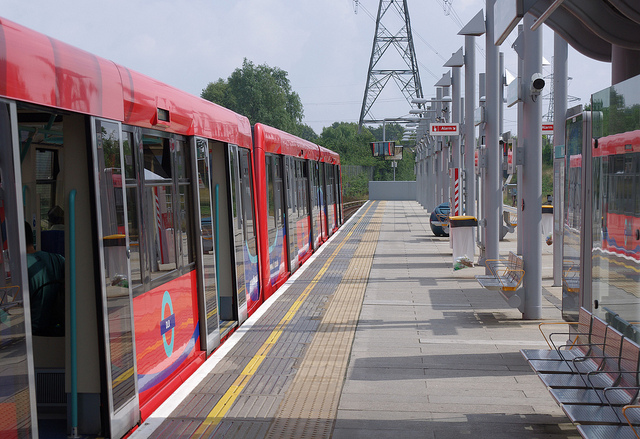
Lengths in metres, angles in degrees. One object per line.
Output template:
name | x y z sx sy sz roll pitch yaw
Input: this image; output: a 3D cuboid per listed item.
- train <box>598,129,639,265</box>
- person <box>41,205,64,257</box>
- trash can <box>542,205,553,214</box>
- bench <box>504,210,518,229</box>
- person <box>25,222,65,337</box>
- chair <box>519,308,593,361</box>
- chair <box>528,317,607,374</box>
train | 3.237 -0.252 6.059 0.141 1.368 0.848 0 4 8
person | -3.181 0.170 6.730 0.306 0.734 0.112 -4 45 -36
trash can | 7.449 -0.301 18.283 0.295 0.285 0.621 1 5 20
bench | 8.115 0.032 23.756 0.222 0.872 0.602 -2 -9 38
person | -2.959 0.811 6.071 0.346 0.880 0.364 -3 5 -29
chair | 3.282 1.607 7.780 0.571 0.514 0.860 -1 -2 4
chair | 2.806 1.314 6.146 0.538 0.407 0.617 0 -3 3
